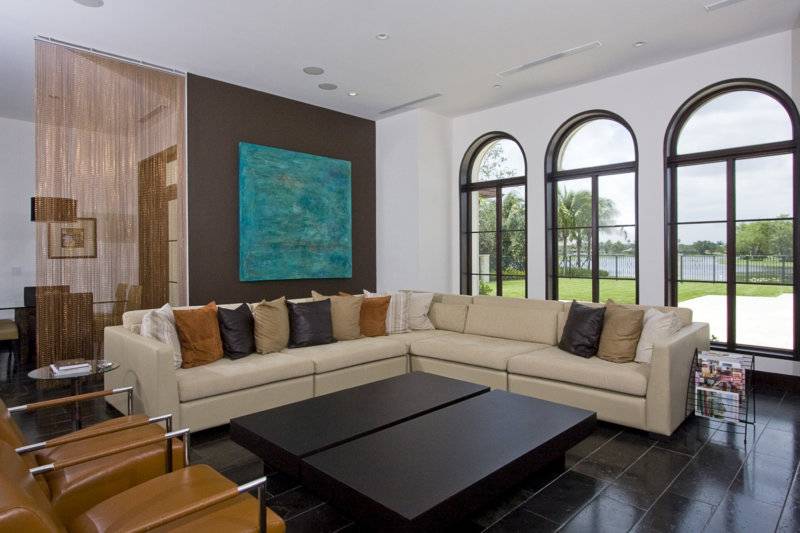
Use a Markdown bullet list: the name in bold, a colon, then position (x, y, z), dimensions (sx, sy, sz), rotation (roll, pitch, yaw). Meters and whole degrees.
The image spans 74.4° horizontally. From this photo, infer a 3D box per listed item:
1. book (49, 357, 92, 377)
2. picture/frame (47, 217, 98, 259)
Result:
- **book**: position (-2.999, 0.952, 4.843), dimensions (0.314, 0.062, 0.484), rotation (-3, 2, -38)
- **picture/frame**: position (-3.875, -0.331, 6.226), dimensions (0.521, 0.589, 0.044), rotation (1, -2, -39)
